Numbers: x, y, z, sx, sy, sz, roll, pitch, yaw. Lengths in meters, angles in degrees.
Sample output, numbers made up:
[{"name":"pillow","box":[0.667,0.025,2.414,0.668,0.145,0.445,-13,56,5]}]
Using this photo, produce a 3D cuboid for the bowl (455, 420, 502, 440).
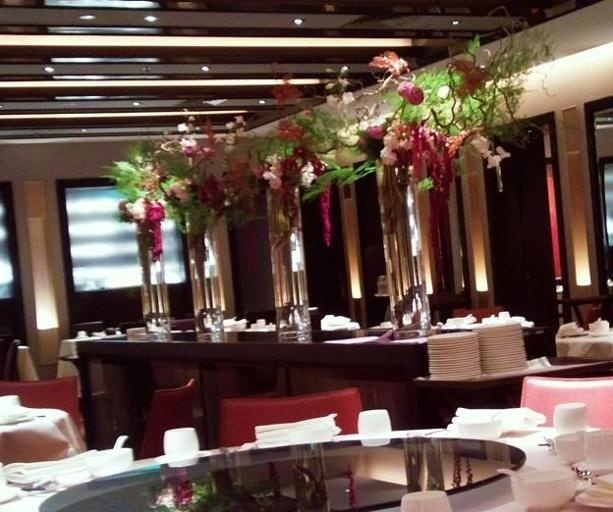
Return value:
[{"name":"bowl","box":[0.540,0.540,1.624,0.095,0.031,0.081,-3,-8,1]}]

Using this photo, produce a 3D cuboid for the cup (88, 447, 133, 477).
[{"name":"cup","box":[-0.636,0.664,1.700,0.089,0.033,0.098,-3,-7,0]}]

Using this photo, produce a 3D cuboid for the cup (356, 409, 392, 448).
[{"name":"cup","box":[0.225,0.579,1.762,0.106,0.104,0.098,-1,-10,0]}]

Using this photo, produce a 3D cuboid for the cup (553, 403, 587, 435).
[{"name":"cup","box":[0.768,0.480,1.565,0.103,0.089,0.093,-2,-8,0]}]

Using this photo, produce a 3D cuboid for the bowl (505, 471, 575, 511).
[{"name":"bowl","box":[0.459,0.449,1.029,0.120,0.049,0.086,-6,-6,11]}]

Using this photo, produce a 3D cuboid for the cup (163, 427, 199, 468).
[{"name":"cup","box":[-0.400,0.640,1.757,0.121,0.094,0.115,-1,-10,0]}]
